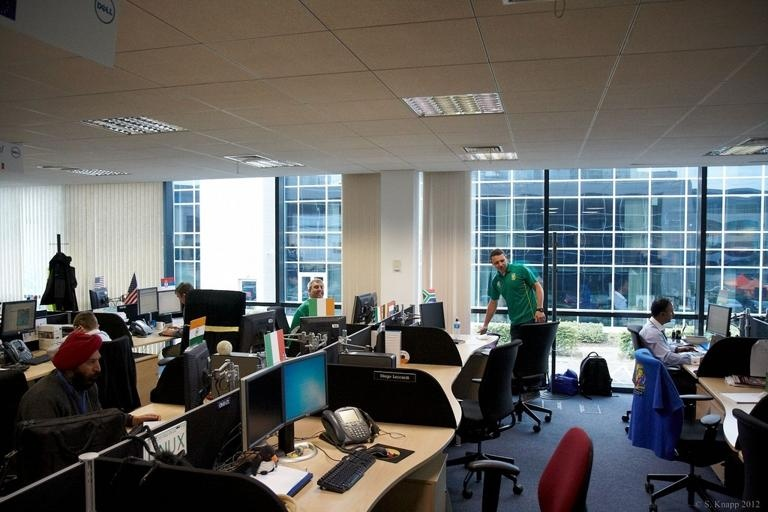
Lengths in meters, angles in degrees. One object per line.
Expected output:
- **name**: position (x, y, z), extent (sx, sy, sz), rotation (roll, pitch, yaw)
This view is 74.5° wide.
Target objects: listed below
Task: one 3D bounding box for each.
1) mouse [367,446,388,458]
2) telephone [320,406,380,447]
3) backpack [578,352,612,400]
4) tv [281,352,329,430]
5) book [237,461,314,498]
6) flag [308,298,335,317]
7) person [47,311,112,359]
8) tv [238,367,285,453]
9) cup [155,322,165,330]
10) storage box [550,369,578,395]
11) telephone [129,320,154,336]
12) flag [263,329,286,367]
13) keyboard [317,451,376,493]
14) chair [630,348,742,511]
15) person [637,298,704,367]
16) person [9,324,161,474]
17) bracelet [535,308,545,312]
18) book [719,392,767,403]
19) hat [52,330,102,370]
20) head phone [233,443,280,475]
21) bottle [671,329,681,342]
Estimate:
- **mouse**: position (-0.045, 1.401, 3.599), extent (0.097, 0.030, 0.066), rotation (0, 1, 24)
- **telephone**: position (-0.237, 1.292, 3.800), extent (0.446, 0.171, 0.379), rotation (7, 2, -42)
- **backpack**: position (3.155, 1.780, 7.544), extent (0.505, 0.651, 0.366), rotation (-2, -2, 25)
- **tv**: position (-0.591, 0.998, 3.723), extent (0.069, 0.536, 0.655), rotation (-4, -3, 27)
- **book**: position (-0.670, 1.454, 3.254), extent (0.305, 0.095, 0.318), rotation (-1, -1, 25)
- **flag**: position (-0.663, 0.537, 5.250), extent (0.340, 0.173, 0.230), rotation (1, -2, 20)
- **person**: position (-3.072, 0.807, 5.095), extent (0.561, 0.308, 0.725), rotation (3, 8, -6)
- **tv**: position (-0.825, 1.010, 3.396), extent (0.070, 0.503, 0.379), rotation (-1, -1, 30)
- **cup**: position (-3.414, 1.084, 7.705), extent (0.094, 0.136, 0.148), rotation (-4, -10, 23)
- **storage box**: position (2.671, 1.887, 7.494), extent (0.329, 0.305, 0.341), rotation (3, -12, 15)
- **telephone**: position (-3.550, 1.042, 7.349), extent (0.275, 0.111, 0.207), rotation (12, 4, 10)
- **flag**: position (-0.830, 0.717, 3.831), extent (0.214, 0.216, 0.010), rotation (-23, -23, 32)
- **keyboard**: position (-0.244, 1.443, 3.388), extent (0.226, 0.144, 0.455), rotation (-1, -1, 24)
- **chair**: position (2.726, 1.622, 4.707), extent (0.835, 1.496, 0.728), rotation (-1, 0, 32)
- **person**: position (3.298, 0.866, 5.831), extent (0.662, 0.735, 0.685), rotation (0, 9, 16)
- **person**: position (-2.137, 0.943, 3.459), extent (0.747, 0.765, 1.149), rotation (0, -1, -26)
- **bracelet**: position (2.203, 0.775, 7.183), extent (0.108, 0.076, 0.120), rotation (-6, -11, 28)
- **book**: position (3.232, 1.290, 4.558), extent (0.301, 0.031, 0.339), rotation (-3, -1, 33)
- **hat**: position (-2.351, 0.714, 3.780), extent (0.231, 0.173, 0.332), rotation (1, 18, 45)
- **head phone**: position (-0.856, 1.349, 3.329), extent (0.179, 0.093, 0.228), rotation (-5, -2, 42)
- **bottle**: position (3.947, 1.097, 6.852), extent (0.110, 0.137, 0.141), rotation (1, -6, -2)
